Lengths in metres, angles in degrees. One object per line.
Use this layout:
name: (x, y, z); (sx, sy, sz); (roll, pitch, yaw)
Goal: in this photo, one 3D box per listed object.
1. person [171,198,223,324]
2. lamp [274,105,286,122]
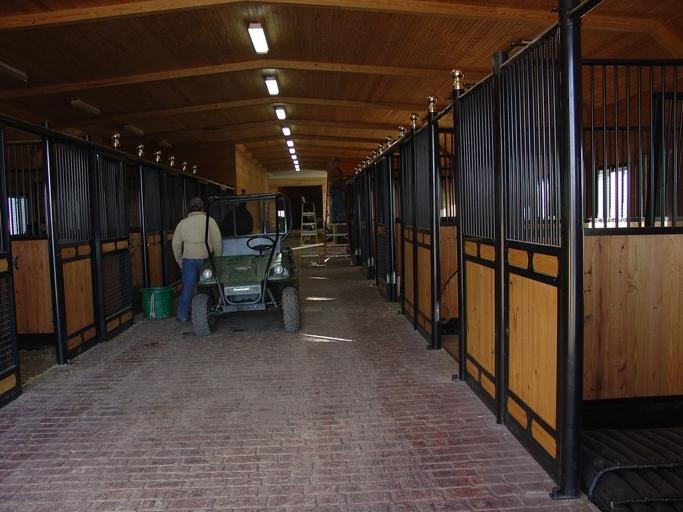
person: (-2.089, 0.052, 7.765); (0.658, 1.758, 1.011); (-6, 9, -28)
lamp: (-1.636, -3.840, 14.153); (0.216, 0.120, 0.503); (-5, -9, 4)
